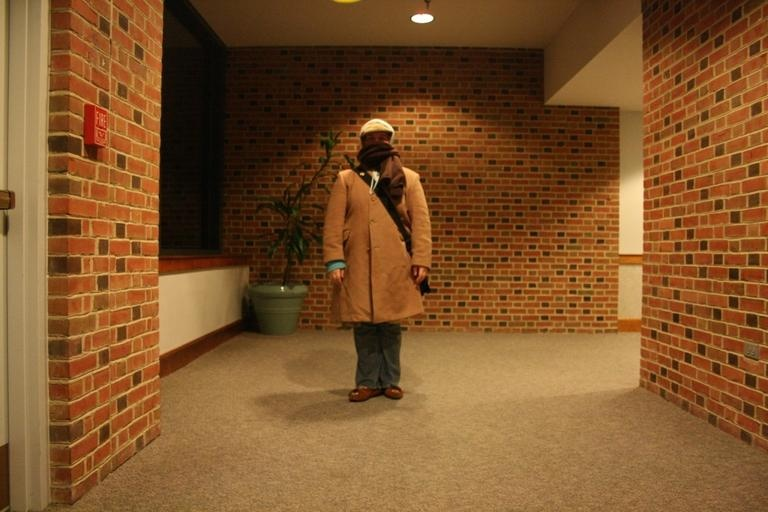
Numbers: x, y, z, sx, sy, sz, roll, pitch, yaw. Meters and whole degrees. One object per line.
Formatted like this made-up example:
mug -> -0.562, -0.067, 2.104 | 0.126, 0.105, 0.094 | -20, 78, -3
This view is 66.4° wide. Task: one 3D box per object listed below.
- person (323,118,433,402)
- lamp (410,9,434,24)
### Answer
person -> -0.057, 0.038, 4.388 | 0.781, 2.062, 0.532 | -1, 10, -8
lamp -> 0.406, -2.514, 6.252 | 0.252, 0.080, 0.296 | 3, 10, 15
